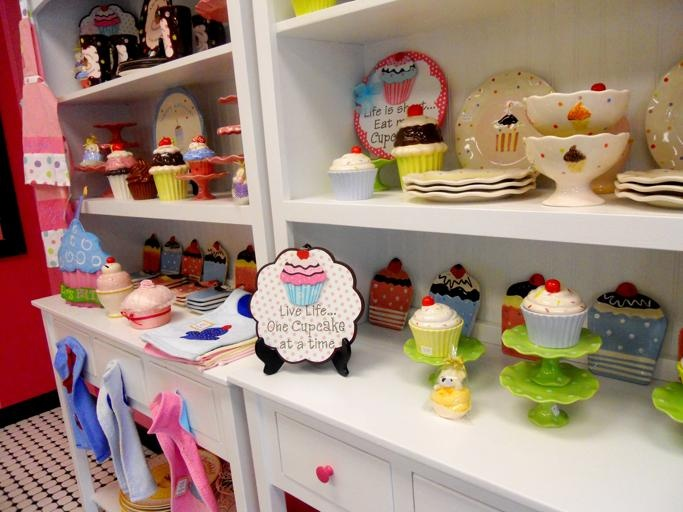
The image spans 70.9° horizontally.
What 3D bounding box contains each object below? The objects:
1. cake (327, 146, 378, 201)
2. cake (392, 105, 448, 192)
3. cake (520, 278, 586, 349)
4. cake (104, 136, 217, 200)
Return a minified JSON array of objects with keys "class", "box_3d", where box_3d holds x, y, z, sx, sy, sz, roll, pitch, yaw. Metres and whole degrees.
[{"class":"cake","box_3d":[0.019,-0.233,1.312,0.129,0.148,0.135,-1,13,-7]},{"class":"cake","box_3d":[0.206,-0.305,1.258,0.140,0.182,0.096,-4,14,-3]},{"class":"cake","box_3d":[0.443,0.121,1.079,0.129,0.155,0.141,0,9,6]},{"class":"cake","box_3d":[-0.644,-0.285,1.717,0.267,0.217,0.228,0,7,32]}]
